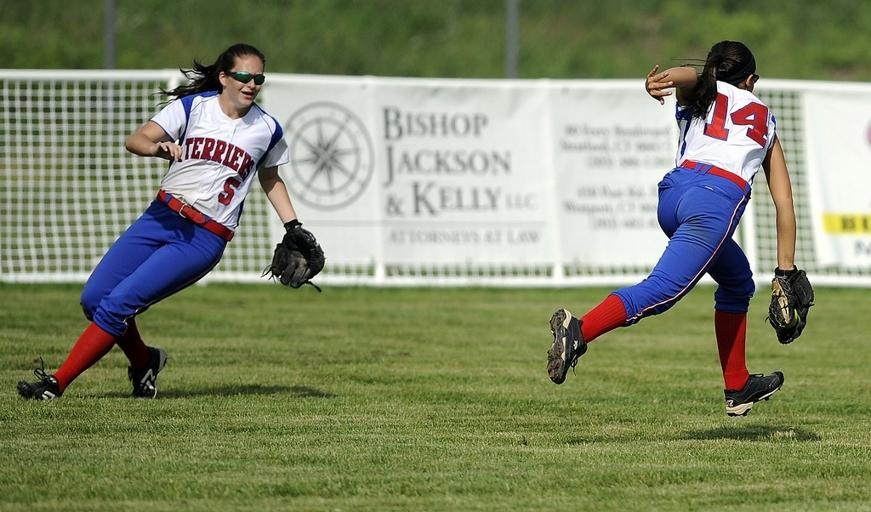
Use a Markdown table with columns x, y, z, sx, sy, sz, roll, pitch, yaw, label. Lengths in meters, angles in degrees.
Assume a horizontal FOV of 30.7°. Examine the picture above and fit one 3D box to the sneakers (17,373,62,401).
| x | y | z | sx | sy | sz | roll | pitch | yaw | label |
| --- | --- | --- | --- | --- | --- | --- | --- | --- | --- |
| -4.170 | 1.361 | 16.655 | 0.602 | 0.187 | 0.257 | 4 | -37 | -19 | sneakers |
